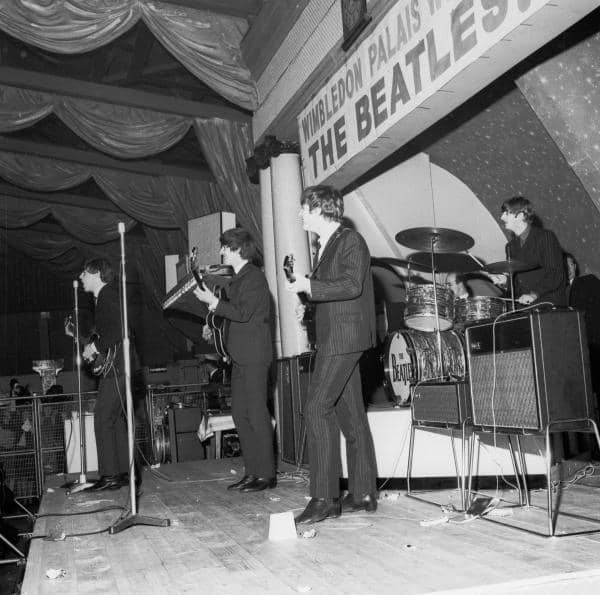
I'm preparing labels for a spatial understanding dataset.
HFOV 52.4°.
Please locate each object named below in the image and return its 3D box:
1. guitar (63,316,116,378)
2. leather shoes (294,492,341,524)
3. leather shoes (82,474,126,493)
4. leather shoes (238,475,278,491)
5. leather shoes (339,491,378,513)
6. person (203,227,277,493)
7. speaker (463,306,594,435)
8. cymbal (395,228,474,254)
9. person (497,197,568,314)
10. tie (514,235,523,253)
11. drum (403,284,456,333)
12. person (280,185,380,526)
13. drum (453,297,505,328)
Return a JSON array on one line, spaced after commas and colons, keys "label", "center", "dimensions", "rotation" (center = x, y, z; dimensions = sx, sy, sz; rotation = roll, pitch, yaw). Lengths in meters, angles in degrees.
[{"label": "guitar", "center": [-1.544, 0.293, 4.467], "dimensions": [0.091, 0.317, 0.621], "rotation": [-5, 42, -40]}, {"label": "leather shoes", "center": [0.091, 0.993, 2.893], "dimensions": [0.254, 0.131, 0.090], "rotation": [5, -11, -26]}, {"label": "leather shoes", "center": [-1.426, 1.365, 4.459], "dimensions": [0.310, 0.152, 0.115], "rotation": [7, -21, -13]}, {"label": "leather shoes", "center": [-0.270, 1.220, 3.989], "dimensions": [0.232, 0.114, 0.083], "rotation": [9, -2, -14]}, {"label": "leather shoes", "center": [0.291, 1.012, 3.070], "dimensions": [0.217, 0.112, 0.081], "rotation": [1, -8, 16]}, {"label": "person", "center": [-0.378, 0.382, 4.090], "dimensions": [0.408, 1.758, 0.710], "rotation": [-3, -7, -3]}, {"label": "speaker", "center": [1.021, 0.338, 2.735], "dimensions": [0.239, 0.468, 0.442], "rotation": [4, -29, -14]}, {"label": "cymbal", "center": [1.001, -0.438, 4.517], "dimensions": [0.547, 0.171, 0.421], "rotation": [-6, -8, 12]}, {"label": "person", "center": [1.606, -0.316, 4.175], "dimensions": [0.374, 0.794, 0.826], "rotation": [-6, -8, 20]}, {"label": "tie", "center": [1.578, -0.396, 4.378], "dimensions": [0.020, 0.096, 0.062], "rotation": [8, -14, -19]}, {"label": "drum", "center": [1.042, 0.077, 4.725], "dimensions": [0.339, 0.298, 0.370], "rotation": [2, -9, -9]}, {"label": "person", "center": [0.163, 0.217, 2.976], "dimensions": [0.419, 1.662, 0.533], "rotation": [-4, -7, 7]}, {"label": "drum", "center": [1.436, 0.068, 4.794], "dimensions": [0.367, 0.167, 0.375], "rotation": [1, -16, 0]}]
